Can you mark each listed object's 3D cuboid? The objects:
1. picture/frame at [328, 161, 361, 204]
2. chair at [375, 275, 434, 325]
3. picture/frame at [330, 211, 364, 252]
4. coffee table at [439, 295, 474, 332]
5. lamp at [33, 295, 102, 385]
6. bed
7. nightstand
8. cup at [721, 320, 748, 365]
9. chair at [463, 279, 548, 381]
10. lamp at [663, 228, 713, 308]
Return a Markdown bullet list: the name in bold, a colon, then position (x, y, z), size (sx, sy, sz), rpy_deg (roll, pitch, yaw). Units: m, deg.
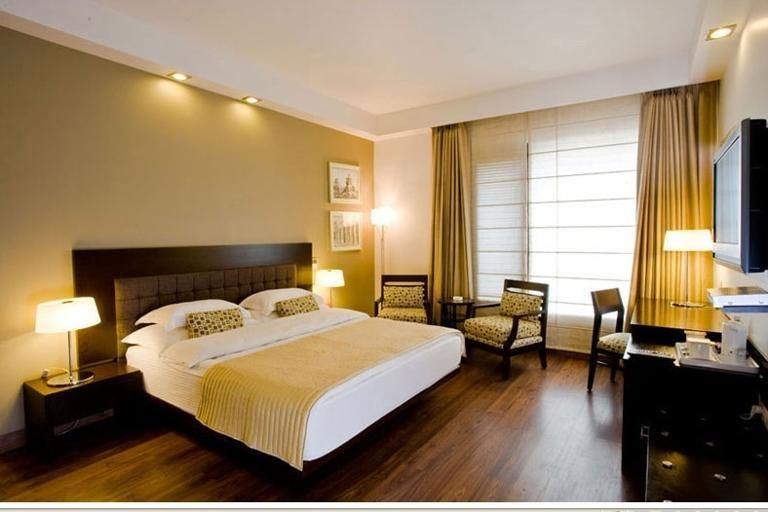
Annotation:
- **picture/frame**: position (-0.610, -1.128, 7.728), size (0.027, 0.615, 0.796), rpy_deg (3, 5, 35)
- **chair**: position (0.315, 0.653, 7.360), size (0.764, 1.058, 0.720), rpy_deg (-1, -7, 8)
- **picture/frame**: position (-0.615, -0.398, 7.756), size (0.046, 0.635, 0.707), rpy_deg (6, 8, 44)
- **coffee table**: position (1.097, 0.861, 7.266), size (0.495, 0.573, 0.531), rpy_deg (-7, 11, -39)
- **lamp**: position (-3.198, 0.861, 4.935), size (0.575, 0.885, 0.590), rpy_deg (-5, 10, -13)
- **bed**: position (-1.129, 0.888, 5.533), size (3.155, 1.713, 2.945), rpy_deg (-2, 2, 32)
- **nightstand**: position (-3.049, 1.431, 4.958), size (0.698, 0.823, 1.101), rpy_deg (6, 8, 30)
- **cup**: position (2.951, 0.676, 4.111), size (0.194, 0.330, 0.215), rpy_deg (-2, 14, 12)
- **chair**: position (1.614, 0.909, 6.547), size (1.097, 1.131, 1.100), rpy_deg (1, 5, 17)
- **lamp**: position (3.559, 0.132, 5.715), size (0.481, 0.883, 0.640), rpy_deg (-1, 2, 31)
